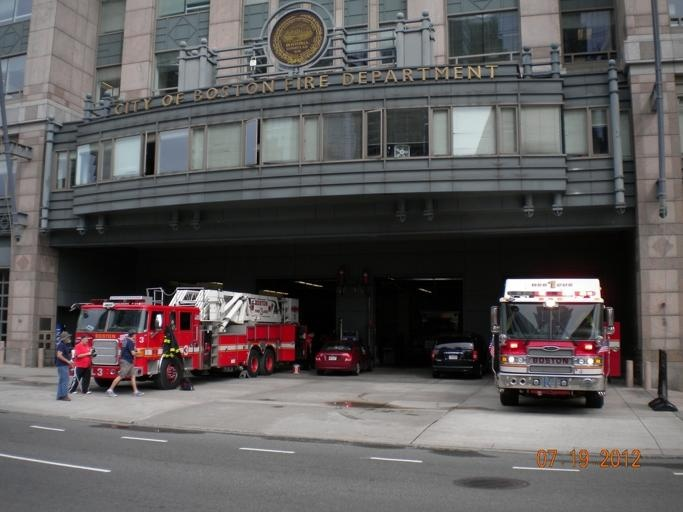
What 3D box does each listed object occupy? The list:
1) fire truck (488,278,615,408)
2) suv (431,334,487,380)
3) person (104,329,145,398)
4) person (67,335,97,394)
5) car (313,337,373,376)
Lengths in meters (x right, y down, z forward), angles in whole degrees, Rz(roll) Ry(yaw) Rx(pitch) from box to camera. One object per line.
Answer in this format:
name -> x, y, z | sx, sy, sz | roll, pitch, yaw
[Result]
fire truck -> 7.029, 2.777, 27.430 | 3.433, 3.828, 6.961 | 0, -2, 14
suv -> 5.113, 4.304, 35.144 | 1.895, 2.024, 2.179 | -1, -5, 20
person -> -7.302, 3.608, 27.490 | 1.177, 2.201, 0.754 | 5, -14, -30
person -> -8.868, 3.697, 27.711 | 0.684, 1.932, 0.732 | 1, 0, -6
car -> 0.182, 4.544, 36.378 | 1.471, 1.338, 3.719 | -1, -3, 16
